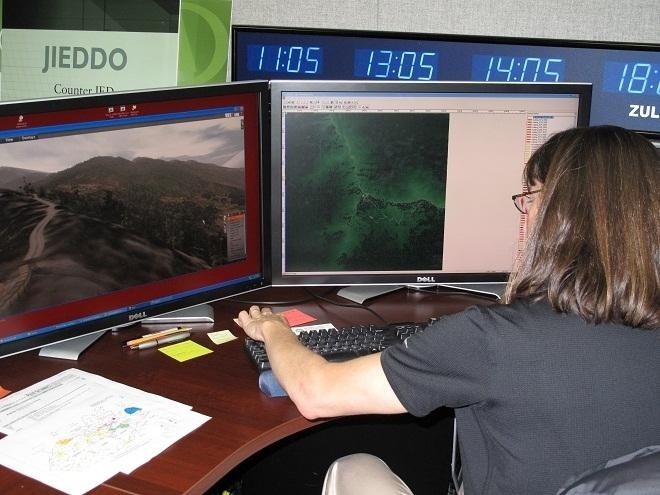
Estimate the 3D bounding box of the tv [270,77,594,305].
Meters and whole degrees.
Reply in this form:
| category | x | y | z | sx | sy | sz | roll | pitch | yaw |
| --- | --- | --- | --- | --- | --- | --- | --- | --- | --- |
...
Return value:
| category | x | y | z | sx | sy | sz | roll | pitch | yaw |
| --- | --- | --- | --- | --- | --- | --- | --- | --- | --- |
| tv | 0.231 | -0.162 | 1.404 | 0.861 | 0.448 | 0.205 | 0 | 8 | -1 |
